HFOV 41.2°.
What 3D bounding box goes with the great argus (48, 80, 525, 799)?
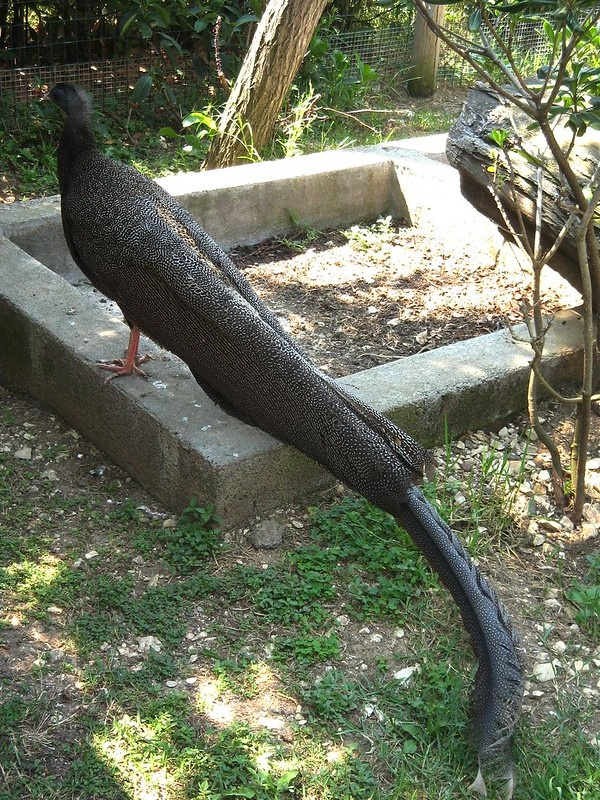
[{"bbox_3d":[-0.038,-0.127,2.688,0.594,1.858,2.299,-13,22,-42],"label":"great argus"}]
